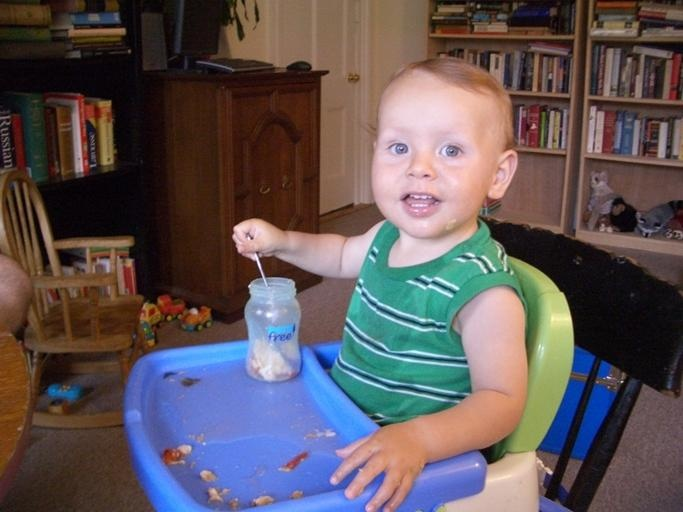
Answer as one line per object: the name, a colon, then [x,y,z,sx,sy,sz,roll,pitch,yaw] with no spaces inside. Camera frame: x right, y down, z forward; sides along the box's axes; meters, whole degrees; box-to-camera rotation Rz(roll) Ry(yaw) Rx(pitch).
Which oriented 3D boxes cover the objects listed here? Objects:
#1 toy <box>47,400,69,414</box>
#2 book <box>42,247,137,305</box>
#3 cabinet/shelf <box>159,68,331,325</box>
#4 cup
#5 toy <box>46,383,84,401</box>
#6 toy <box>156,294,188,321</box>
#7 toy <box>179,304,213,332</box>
toy: [-1.025,0.538,1.933,0.050,0.033,0.051,0,3,-2]
book: [-1.155,0.050,2.488,0.332,0.389,0.271,-1,0,-20]
cabinet/shelf: [-0.524,-0.390,2.940,0.545,1.140,0.862,13,21,32]
cup: [-0.127,0.131,1.004,0.108,0.181,0.108,1,10,0]
toy: [-1.048,0.510,2.023,0.101,0.044,0.062,1,31,3]
toy: [-0.845,0.240,2.698,0.137,0.125,0.104,-12,28,-28]
toy: [-0.692,0.294,2.567,0.137,0.095,0.099,2,7,-10]
